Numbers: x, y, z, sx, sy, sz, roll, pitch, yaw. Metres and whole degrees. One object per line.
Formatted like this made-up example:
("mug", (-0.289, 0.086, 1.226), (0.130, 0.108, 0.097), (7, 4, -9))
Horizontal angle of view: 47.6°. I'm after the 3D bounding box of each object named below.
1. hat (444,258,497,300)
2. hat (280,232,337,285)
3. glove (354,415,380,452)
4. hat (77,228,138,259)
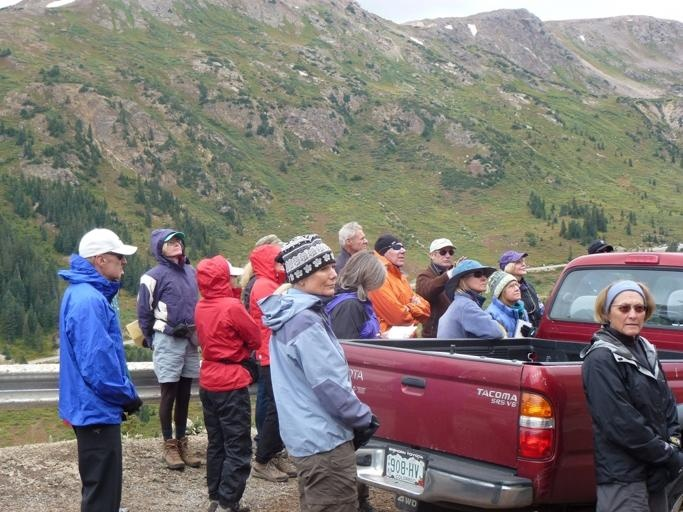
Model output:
("hat", (1.577, 0.298, 10.200), (0.613, 0.204, 0.593), (-13, -22, -21))
("hat", (-0.350, 0.026, 7.824), (0.643, 0.398, 0.426), (-13, 4, 14))
("glove", (0.259, 1.748, 7.626), (0.237, 0.330, 0.137), (1, 3, -14))
("hat", (-2.641, -0.134, 8.780), (0.626, 0.257, 0.368), (-7, 8, -14))
